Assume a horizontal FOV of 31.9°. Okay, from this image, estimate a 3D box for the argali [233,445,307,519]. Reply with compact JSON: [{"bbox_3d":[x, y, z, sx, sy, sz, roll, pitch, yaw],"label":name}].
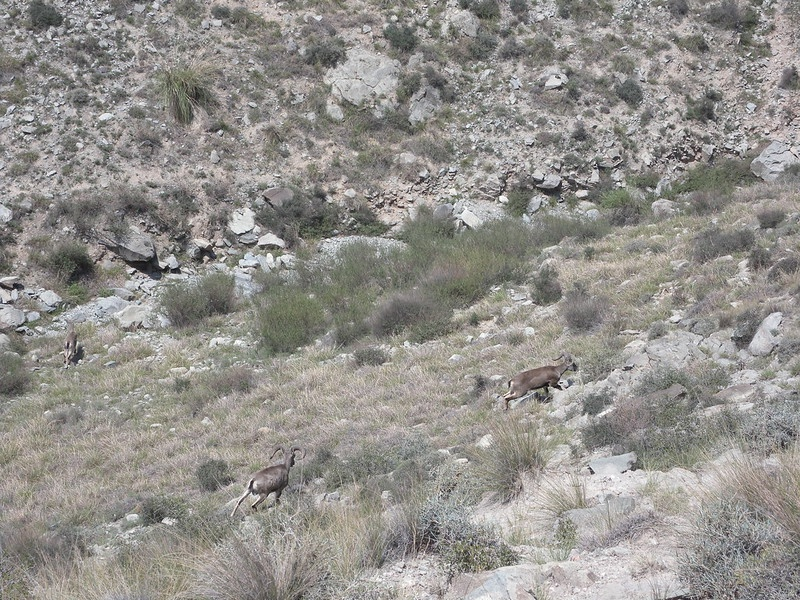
[{"bbox_3d":[-4.204,5.866,44.145,1.080,1.935,2.567,18,23,42],"label":"argali"}]
